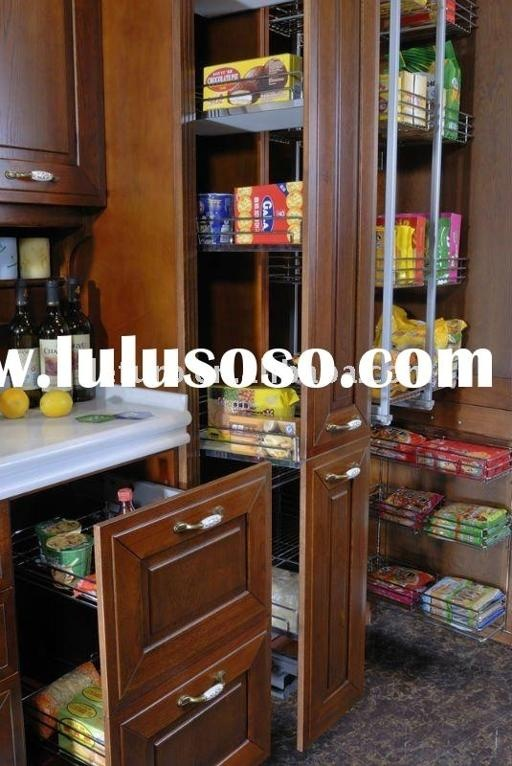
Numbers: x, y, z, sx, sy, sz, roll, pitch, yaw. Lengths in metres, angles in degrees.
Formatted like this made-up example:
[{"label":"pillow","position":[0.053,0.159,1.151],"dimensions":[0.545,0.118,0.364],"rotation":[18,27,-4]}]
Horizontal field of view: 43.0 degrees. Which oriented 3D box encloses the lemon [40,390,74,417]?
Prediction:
[{"label":"lemon","position":[-0.416,0.043,1.360],"dimensions":[0.049,0.052,0.064],"rotation":[38,34,23]}]
